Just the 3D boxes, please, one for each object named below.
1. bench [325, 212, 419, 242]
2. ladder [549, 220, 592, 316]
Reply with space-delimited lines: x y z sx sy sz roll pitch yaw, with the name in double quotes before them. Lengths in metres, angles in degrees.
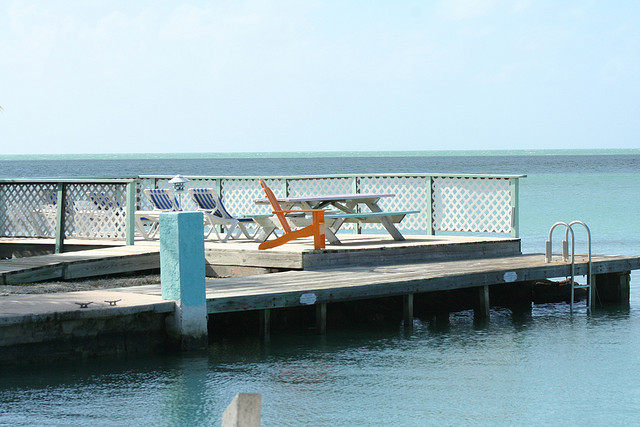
"bench" 0.732 0.144 16.312 2.037 0.589 0.915 0 0 18
"ladder" 3.814 0.842 15.381 0.583 1.394 0.575 -4 -1 -24
